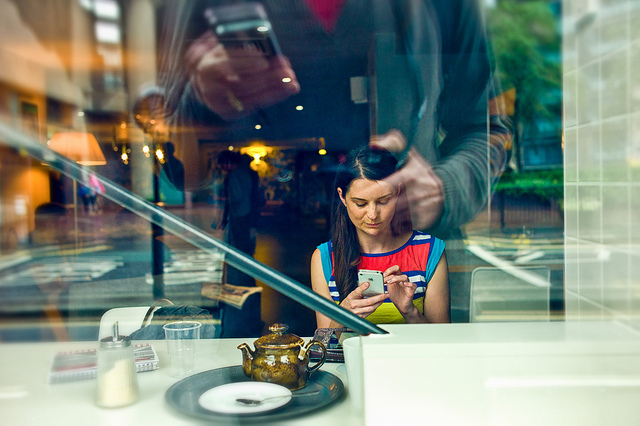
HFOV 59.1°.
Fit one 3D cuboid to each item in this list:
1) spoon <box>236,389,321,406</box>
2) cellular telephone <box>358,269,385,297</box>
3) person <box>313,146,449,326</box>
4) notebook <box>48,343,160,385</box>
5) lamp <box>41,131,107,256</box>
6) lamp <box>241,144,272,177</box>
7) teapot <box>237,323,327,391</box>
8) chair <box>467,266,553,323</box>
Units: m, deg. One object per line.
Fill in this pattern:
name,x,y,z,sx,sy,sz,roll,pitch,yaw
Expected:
spoon,-0.130,0.542,1.646,0.255,0.026,0.043,0,3,-6
cellular telephone,0.213,0.291,2.323,0.104,0.018,0.173,2,-43,15
person,0.294,0.070,2.644,0.741,0.877,0.566,0,-4,-42
notebook,-0.702,0.500,1.776,0.233,0.047,0.244,-11,5,22
lamp,-1.493,-0.134,3.476,0.435,0.792,0.116,-4,-3,28
lamp,-0.400,-0.320,3.475,0.215,0.206,0.090,-2,-4,-24
teapot,-0.118,0.442,1.758,0.257,0.177,0.189,-1,-3,17
chair,0.874,0.376,2.624,0.359,0.324,0.256,-1,-4,20
